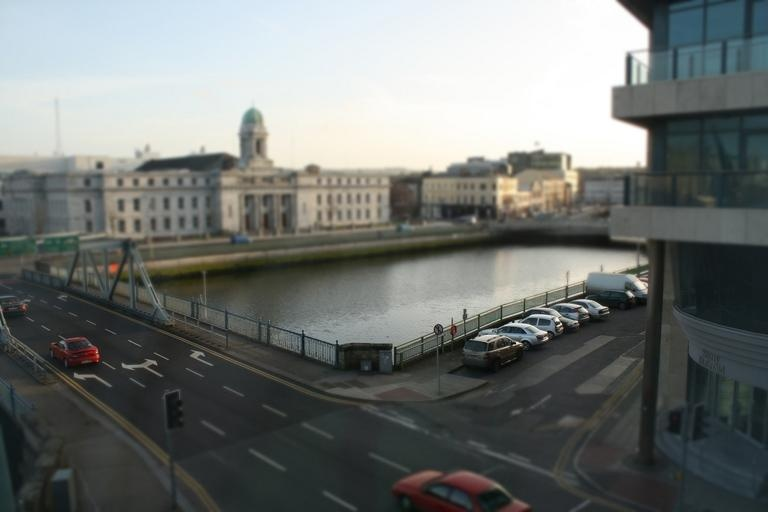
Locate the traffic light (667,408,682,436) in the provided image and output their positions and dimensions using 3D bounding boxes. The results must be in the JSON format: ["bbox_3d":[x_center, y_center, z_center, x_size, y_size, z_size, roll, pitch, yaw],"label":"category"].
[{"bbox_3d":[13.726,7.736,37.924,0.612,1.069,0.716,2,14,15],"label":"traffic light"}]

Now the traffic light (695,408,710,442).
[{"bbox_3d":[14.577,7.590,36.903,0.684,1.427,0.765,4,15,22],"label":"traffic light"}]

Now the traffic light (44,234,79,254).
[{"bbox_3d":[-20.673,-0.834,51.491,0.210,0.904,1.646,-4,-1,33],"label":"traffic light"}]

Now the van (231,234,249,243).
[{"bbox_3d":[-20.221,-2.353,114.101,1.570,1.133,2.646,1,1,36],"label":"van"}]

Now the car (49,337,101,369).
[{"bbox_3d":[-19.116,5.865,49.210,1.570,0.987,3.179,-4,17,-37],"label":"car"}]
